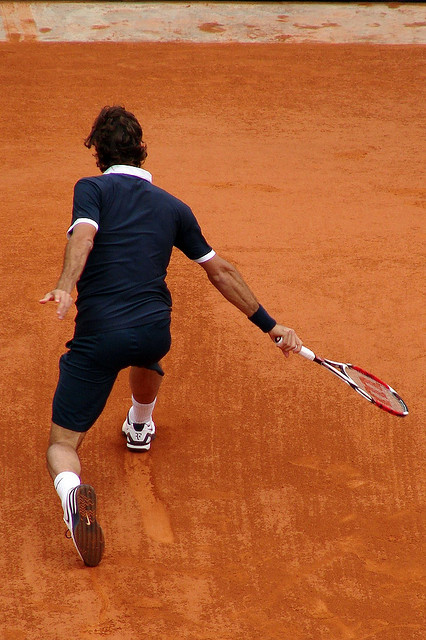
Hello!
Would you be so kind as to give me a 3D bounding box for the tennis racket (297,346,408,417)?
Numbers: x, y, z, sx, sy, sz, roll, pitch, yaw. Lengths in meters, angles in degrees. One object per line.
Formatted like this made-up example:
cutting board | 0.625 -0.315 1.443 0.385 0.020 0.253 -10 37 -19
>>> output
tennis racket | 0.929 0.327 4.553 0.612 0.425 0.555 10 22 22
